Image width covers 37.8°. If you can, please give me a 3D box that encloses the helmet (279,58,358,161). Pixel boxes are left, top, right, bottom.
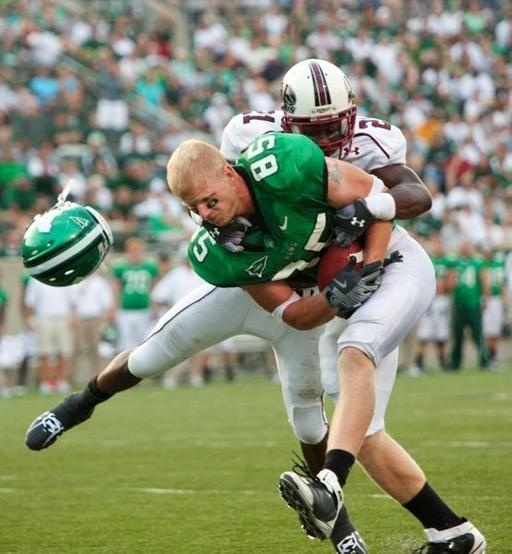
[{"bbox_3d":[0.198,-0.634,2.747,0.298,0.269,0.318,-6,41,-10],"label":"helmet"}]

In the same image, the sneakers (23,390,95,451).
[{"bbox_3d":[-0.787,0.538,2.918,0.134,0.124,0.348,21,31,27],"label":"sneakers"}]

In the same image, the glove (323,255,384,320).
[{"bbox_3d":[0.317,0.025,2.316,0.215,0.128,0.093,-26,-14,18],"label":"glove"}]

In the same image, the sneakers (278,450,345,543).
[{"bbox_3d":[0.156,0.616,2.064,0.161,0.268,0.238,0,18,8],"label":"sneakers"}]

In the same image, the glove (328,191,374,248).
[{"bbox_3d":[0.310,-0.171,2.371,0.132,0.156,0.122,0,18,6],"label":"glove"}]
